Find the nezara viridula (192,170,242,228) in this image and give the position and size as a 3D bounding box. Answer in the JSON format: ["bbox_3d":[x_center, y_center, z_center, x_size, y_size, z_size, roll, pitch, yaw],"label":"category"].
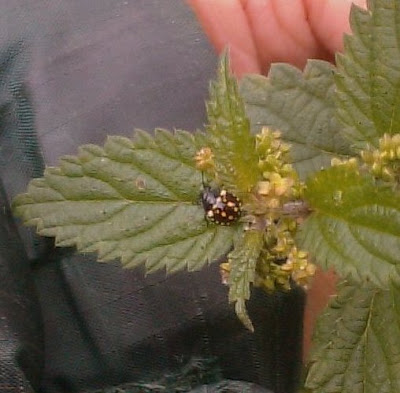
[{"bbox_3d":[0.035,0.010,1.801,0.093,0.153,0.035,20,65,27],"label":"nezara viridula"}]
